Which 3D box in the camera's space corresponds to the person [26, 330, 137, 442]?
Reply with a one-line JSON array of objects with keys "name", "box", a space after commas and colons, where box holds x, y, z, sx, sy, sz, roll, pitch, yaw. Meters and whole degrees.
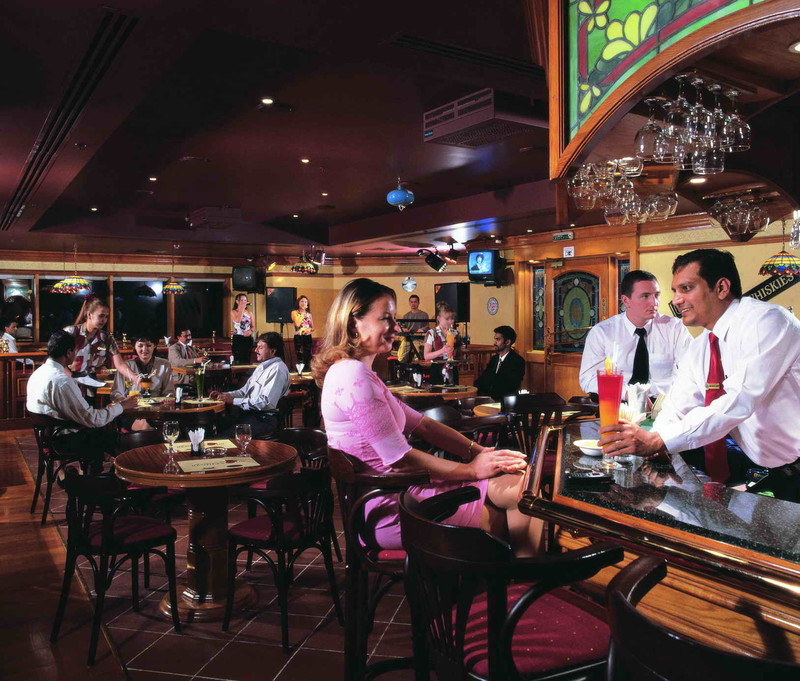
[{"name": "person", "box": [-2.630, 0.334, 4.976, 0.703, 0.810, 0.402, -2, 3, -13]}]

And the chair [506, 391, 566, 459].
[{"name": "chair", "box": [0.868, 0.532, 4.170, 0.504, 0.525, 0.431, 1, 4, 13]}]

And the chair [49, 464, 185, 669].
[{"name": "chair", "box": [-1.488, 1.068, 3.236, 0.534, 0.876, 0.522, 2, 4, 38]}]

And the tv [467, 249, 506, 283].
[{"name": "tv", "box": [1.642, -1.306, 11.818, 0.680, 0.622, 0.725, 9, -8, -44]}]

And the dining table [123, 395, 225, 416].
[{"name": "dining table", "box": [-2.018, 0.552, 5.653, 0.776, 0.183, 0.785, -1, 3, -9]}]

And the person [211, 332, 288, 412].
[{"name": "person", "box": [-1.424, 0.292, 6.221, 0.645, 0.677, 0.776, 1, 5, -19]}]

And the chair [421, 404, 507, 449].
[{"name": "chair", "box": [0.371, 0.472, 3.745, 0.376, 0.328, 0.305, -9, 9, -9]}]

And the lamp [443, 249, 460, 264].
[{"name": "lamp", "box": [0.947, -1.571, 11.656, 0.270, 0.209, 0.293, 7, -8, 2]}]

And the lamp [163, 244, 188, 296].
[{"name": "lamp", "box": [-4.872, -1.438, 13.450, 0.412, 0.879, 2.926, -2, 3, -19]}]

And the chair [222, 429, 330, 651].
[{"name": "chair", "box": [-0.652, 1.110, 3.426, 0.558, 0.776, 0.521, 5, -13, -34]}]

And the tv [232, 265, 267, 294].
[{"name": "tv", "box": [-3.494, -1.441, 14.639, 0.548, 0.644, 0.866, -3, 4, -38]}]

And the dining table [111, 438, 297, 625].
[{"name": "dining table", "box": [-1.080, 1.109, 3.588, 1.133, 0.764, 0.977, -6, -11, -11]}]
